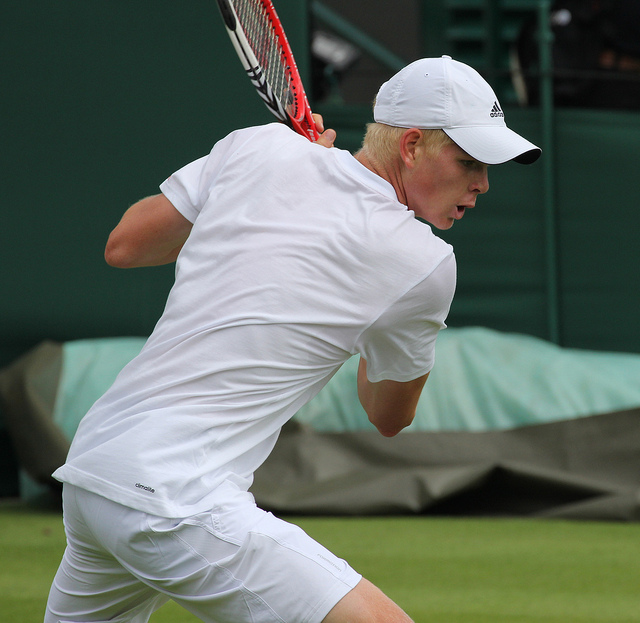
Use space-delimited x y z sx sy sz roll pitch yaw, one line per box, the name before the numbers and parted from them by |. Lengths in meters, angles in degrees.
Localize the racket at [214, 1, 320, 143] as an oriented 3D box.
racket | -0.128 -0.661 2.640 0.312 0.426 0.490 -3 10 -7
